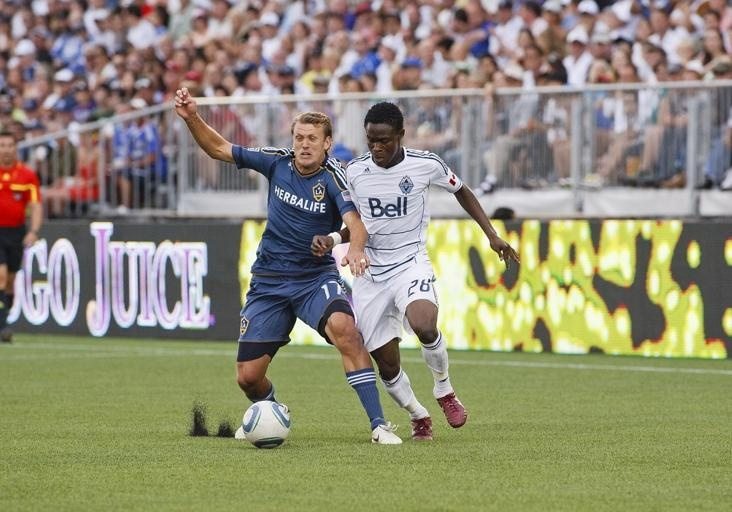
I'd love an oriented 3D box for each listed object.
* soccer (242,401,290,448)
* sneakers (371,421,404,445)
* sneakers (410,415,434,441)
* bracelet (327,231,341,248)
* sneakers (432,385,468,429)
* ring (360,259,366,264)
[{"bbox_3d":[-0.896,1.510,12.641,0.397,0.412,0.397,6,-6,-32],"label":"soccer"},{"bbox_3d":[0.185,1.613,12.738,0.286,0.172,0.278,0,9,-3],"label":"sneakers"},{"bbox_3d":[0.507,1.606,12.950,0.144,0.237,0.233,-2,-12,-13],"label":"sneakers"},{"bbox_3d":[-0.277,-0.144,12.773,0.097,0.110,0.130,-2,4,-20],"label":"bracelet"},{"bbox_3d":[0.800,1.445,13.126,0.185,0.415,0.165,-33,-28,11],"label":"sneakers"},{"bbox_3d":[-0.019,0.058,12.542,0.038,0.054,0.024,-7,-15,-6],"label":"ring"}]
